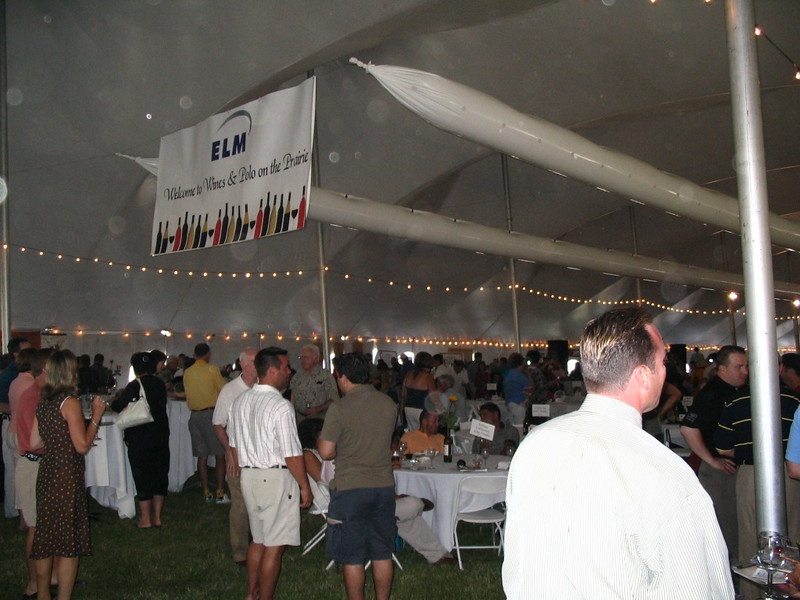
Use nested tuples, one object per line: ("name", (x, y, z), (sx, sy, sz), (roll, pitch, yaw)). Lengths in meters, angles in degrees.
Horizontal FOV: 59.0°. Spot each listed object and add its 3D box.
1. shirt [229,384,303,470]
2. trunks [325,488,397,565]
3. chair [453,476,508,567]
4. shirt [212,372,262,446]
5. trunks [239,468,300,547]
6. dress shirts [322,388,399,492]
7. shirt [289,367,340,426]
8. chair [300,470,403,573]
("shirt", (-1.066, 0.984, 5.423), (0.647, 0.624, 0.343), (4, 5, 22))
("trunks", (-0.267, 1.642, 5.227), (0.544, 0.606, 0.326), (6, -8, -29))
("chair", (0.728, 2.039, 6.540), (0.529, 0.890, 0.639), (1, -7, 12))
("shirt", (-1.651, 1.096, 6.756), (0.176, 0.583, 0.558), (7, -2, -1))
("trunks", (-0.991, 1.589, 5.344), (0.441, 0.582, 0.292), (-1, -10, -5))
("dress shirts", (-0.234, 1.003, 5.262), (0.616, 0.814, 0.333), (-7, 12, -31))
("shirt", (-1.029, 1.121, 8.197), (0.662, 0.685, 0.372), (-1, -8, 4))
("chair", (-0.557, 2.140, 6.797), (0.923, 1.468, 0.779), (-2, -13, -12))
